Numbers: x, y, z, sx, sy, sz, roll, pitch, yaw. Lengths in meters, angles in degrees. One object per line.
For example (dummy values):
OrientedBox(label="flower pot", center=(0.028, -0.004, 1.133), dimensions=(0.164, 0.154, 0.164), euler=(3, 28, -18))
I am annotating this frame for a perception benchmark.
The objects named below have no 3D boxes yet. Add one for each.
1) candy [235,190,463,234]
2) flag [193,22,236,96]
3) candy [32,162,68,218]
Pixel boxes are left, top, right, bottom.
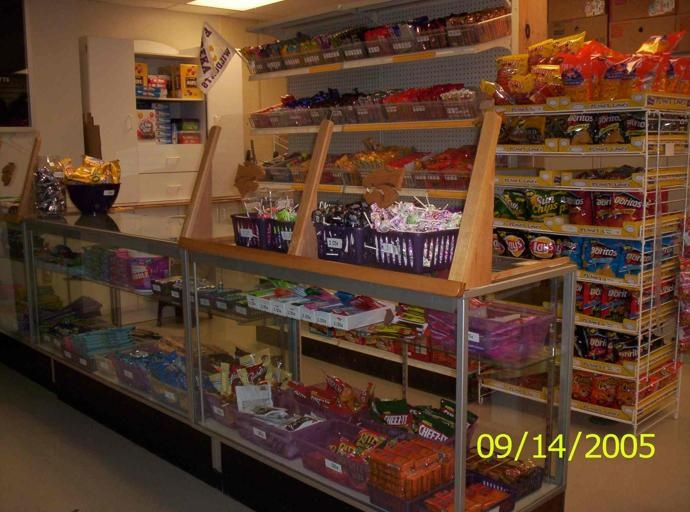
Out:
OrientedBox(label="candy", center=(0.020, -0.176, 2.052), dimensions=(0.891, 0.126, 0.196), euler=(10, 16, 39))
OrientedBox(label="flag", center=(-0.974, -1.454, 3.925), dimensions=(0.275, 0.513, 0.236), euler=(-7, 15, -22))
OrientedBox(label="candy", center=(-2.135, -0.474, 3.807), dimensions=(0.208, 0.399, 0.262), euler=(-11, 21, -39))
